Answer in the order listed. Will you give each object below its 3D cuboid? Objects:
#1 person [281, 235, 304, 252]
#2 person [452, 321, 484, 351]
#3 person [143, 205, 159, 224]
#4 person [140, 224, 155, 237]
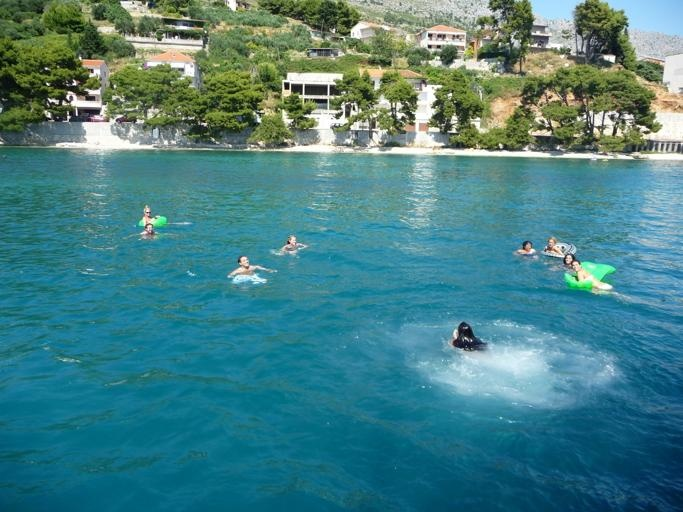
[{"bbox_3d":[-2.676,-0.605,31.295,0.981,0.440,1.144,-3,6,-18],"label":"person"},{"bbox_3d":[4.518,2.820,20.419,1.129,0.833,0.899,0,13,-1],"label":"person"},{"bbox_3d":[-11.280,-2.299,34.032,0.677,1.137,1.988,-4,13,-17],"label":"person"},{"bbox_3d":[-11.159,-1.394,33.447,1.033,0.879,0.320,-1,12,-32],"label":"person"}]
